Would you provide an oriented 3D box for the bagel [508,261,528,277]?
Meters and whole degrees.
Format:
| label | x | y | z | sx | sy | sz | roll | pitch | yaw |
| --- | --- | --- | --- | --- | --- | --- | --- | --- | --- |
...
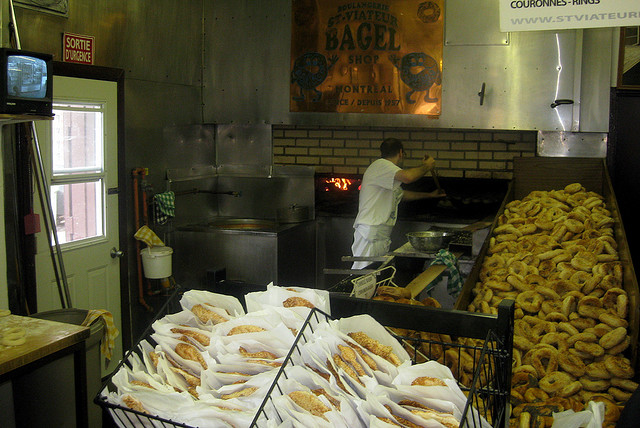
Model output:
| label | x | y | z | sx | sy | sz | roll | pitch | yaw |
| --- | --- | --- | --- | --- | --- | --- | --- | --- | --- |
| bagel | 1.230 | 0.335 | 2.972 | 0.085 | 0.085 | 0.030 | -31 | 33 | 33 |

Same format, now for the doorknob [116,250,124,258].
| label | x | y | z | sx | sy | sz | roll | pitch | yaw |
| --- | --- | --- | --- | --- | --- | --- | --- | --- | --- |
| doorknob | -1.840 | 0.377 | 4.448 | 0.050 | 0.072 | 0.089 | -4 | 9 | -13 |

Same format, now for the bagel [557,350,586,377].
| label | x | y | z | sx | sy | sz | roll | pitch | yaw |
| --- | --- | --- | --- | --- | --- | --- | --- | --- | --- |
| bagel | 1.203 | 0.725 | 2.330 | 0.088 | 0.043 | 0.113 | -15 | 39 | -35 |

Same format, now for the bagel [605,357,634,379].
| label | x | y | z | sx | sy | sz | roll | pitch | yaw |
| --- | --- | --- | --- | --- | --- | --- | --- | --- | --- |
| bagel | 1.430 | 0.740 | 2.304 | 0.131 | 0.074 | 0.082 | 0 | 9 | 10 |

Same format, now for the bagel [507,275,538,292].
| label | x | y | z | sx | sy | sz | roll | pitch | yaw |
| --- | --- | --- | --- | --- | --- | --- | --- | --- | --- |
| bagel | 1.184 | 0.418 | 2.840 | 0.097 | 0.024 | 0.095 | 8 | 15 | -30 |

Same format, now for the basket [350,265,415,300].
| label | x | y | z | sx | sy | sz | roll | pitch | yaw |
| --- | --- | --- | --- | --- | --- | --- | --- | --- | --- |
| basket | 0.370 | 0.449 | 2.977 | 0.371 | 0.137 | 0.207 | -27 | 34 | -21 |

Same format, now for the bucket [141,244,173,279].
| label | x | y | z | sx | sy | sz | roll | pitch | yaw |
| --- | --- | --- | --- | --- | --- | --- | --- | --- | --- |
| bucket | -1.521 | 0.443 | 4.538 | 0.321 | 0.315 | 0.291 | 0 | 3 | 11 |

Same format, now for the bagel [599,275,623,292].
| label | x | y | z | sx | sy | sz | roll | pitch | yaw |
| --- | --- | --- | --- | --- | --- | --- | --- | --- | --- |
| bagel | 1.645 | 0.391 | 2.716 | 0.150 | 0.070 | 0.080 | -9 | 11 | -40 |

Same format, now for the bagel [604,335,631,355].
| label | x | y | z | sx | sy | sz | roll | pitch | yaw |
| --- | --- | --- | --- | --- | --- | --- | --- | --- | --- |
| bagel | 1.488 | 0.662 | 2.397 | 0.091 | 0.026 | 0.093 | -29 | -10 | 28 |

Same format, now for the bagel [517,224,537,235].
| label | x | y | z | sx | sy | sz | roll | pitch | yaw |
| --- | --- | --- | --- | --- | --- | --- | --- | --- | --- |
| bagel | 1.448 | 0.103 | 3.361 | 0.139 | 0.067 | 0.084 | -3 | 9 | -6 |

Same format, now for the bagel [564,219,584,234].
| label | x | y | z | sx | sy | sz | roll | pitch | yaw |
| --- | --- | --- | --- | --- | --- | --- | --- | --- | --- |
| bagel | 1.714 | 0.082 | 3.261 | 0.132 | 0.081 | 0.118 | -5 | 9 | -21 |

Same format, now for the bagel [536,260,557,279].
| label | x | y | z | sx | sy | sz | roll | pitch | yaw |
| --- | --- | --- | --- | --- | --- | --- | --- | --- | --- |
| bagel | 1.387 | 0.338 | 2.952 | 0.112 | 0.087 | 0.110 | -9 | 11 | -39 |

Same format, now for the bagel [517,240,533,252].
| label | x | y | z | sx | sy | sz | roll | pitch | yaw |
| --- | --- | --- | --- | --- | --- | --- | --- | --- | --- |
| bagel | 1.355 | 0.208 | 3.177 | 0.091 | 0.054 | 0.100 | 1 | 9 | 20 |

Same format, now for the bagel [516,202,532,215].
| label | x | y | z | sx | sy | sz | roll | pitch | yaw |
| --- | --- | --- | --- | --- | --- | --- | --- | --- | --- |
| bagel | 1.553 | -0.046 | 3.659 | 0.153 | 0.082 | 0.089 | -9 | 11 | -39 |

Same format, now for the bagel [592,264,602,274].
| label | x | y | z | sx | sy | sz | roll | pitch | yaw |
| --- | --- | --- | --- | --- | --- | --- | --- | --- | --- |
| bagel | 1.620 | 0.325 | 2.826 | 0.034 | 0.041 | 0.065 | 3 | 10 | 31 |

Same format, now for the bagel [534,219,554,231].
| label | x | y | z | sx | sy | sz | roll | pitch | yaw |
| --- | --- | --- | --- | --- | --- | --- | --- | --- | --- |
| bagel | 1.553 | 0.080 | 3.332 | 0.079 | 0.066 | 0.116 | -8 | 11 | -37 |

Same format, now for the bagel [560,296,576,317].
| label | x | y | z | sx | sy | sz | roll | pitch | yaw |
| --- | --- | --- | --- | --- | --- | --- | --- | --- | --- |
| bagel | 1.364 | 0.504 | 2.640 | 0.060 | 0.093 | 0.125 | 7 | 12 | 44 |

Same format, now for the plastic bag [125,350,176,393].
| label | x | y | z | sx | sy | sz | roll | pitch | yaw |
| --- | --- | --- | --- | --- | --- | --- | --- | --- | --- |
| plastic bag | -0.477 | 0.442 | 1.338 | 0.033 | 0.130 | 0.082 | -37 | -2 | 7 |

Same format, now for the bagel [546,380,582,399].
| label | x | y | z | sx | sy | sz | roll | pitch | yaw |
| --- | --- | --- | --- | --- | --- | --- | --- | --- | --- |
| bagel | 1.142 | 0.818 | 2.225 | 0.197 | 0.055 | 0.043 | -6 | 9 | -25 |

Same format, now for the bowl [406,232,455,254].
| label | x | y | z | sx | sy | sz | roll | pitch | yaw |
| --- | --- | --- | --- | --- | --- | --- | --- | --- | --- |
| bowl | 0.875 | 0.225 | 3.817 | 0.323 | 0.140 | 0.359 | 1 | 9 | 17 |

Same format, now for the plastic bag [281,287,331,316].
| label | x | y | z | sx | sy | sz | roll | pitch | yaw |
| --- | --- | --- | --- | --- | --- | --- | --- | --- | --- |
| plastic bag | -0.039 | 0.262 | 1.533 | 0.114 | 0.066 | 0.110 | 2 | 2 | 15 |

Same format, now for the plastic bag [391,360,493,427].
| label | x | y | z | sx | sy | sz | roll | pitch | yaw |
| --- | --- | --- | --- | --- | --- | --- | --- | --- | --- |
| plastic bag | 0.317 | 0.470 | 1.290 | 0.225 | 0.065 | 0.148 | 31 | 64 | 19 |

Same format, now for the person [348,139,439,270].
| label | x | y | z | sx | sy | sz | roll | pitch | yaw |
| --- | --- | --- | --- | --- | --- | --- | --- | --- | --- |
| person | 0.774 | -0.102 | 4.877 | 0.777 | 1.305 | 0.634 | -8 | 11 | -35 |

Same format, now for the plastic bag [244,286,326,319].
| label | x | y | z | sx | sy | sz | roll | pitch | yaw |
| --- | --- | --- | --- | --- | --- | --- | --- | --- | --- |
| plastic bag | -0.117 | 0.269 | 1.512 | 0.162 | 0.054 | 0.117 | 4 | 13 | 27 |

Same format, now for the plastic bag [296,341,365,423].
| label | x | y | z | sx | sy | sz | roll | pitch | yaw |
| --- | --- | --- | --- | --- | --- | --- | --- | --- | --- |
| plastic bag | 0.026 | 0.458 | 1.281 | 0.219 | 0.023 | 0.152 | 37 | -14 | 16 |

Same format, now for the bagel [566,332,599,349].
| label | x | y | z | sx | sy | sz | roll | pitch | yaw |
| --- | --- | --- | --- | --- | --- | --- | --- | --- | --- |
| bagel | 1.338 | 0.640 | 2.450 | 0.172 | 0.061 | 0.058 | -4 | 9 | -13 |

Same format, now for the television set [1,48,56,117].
| label | x | y | z | sx | sy | sz | roll | pitch | yaw |
| --- | --- | --- | --- | --- | --- | --- | --- | --- | --- |
| television set | -1.678 | -0.754 | 2.774 | 0.058 | 0.364 | 0.317 | 4 | 10 | 32 |

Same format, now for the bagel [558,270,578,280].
| label | x | y | z | sx | sy | sz | roll | pitch | yaw |
| --- | --- | --- | --- | --- | --- | --- | --- | --- | --- |
| bagel | 1.452 | 0.356 | 2.827 | 0.065 | 0.019 | 0.067 | -3 | 8 | 43 |

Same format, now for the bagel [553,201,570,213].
| label | x | y | z | sx | sy | sz | roll | pitch | yaw |
| --- | --- | --- | --- | --- | --- | --- | --- | --- | --- |
| bagel | 1.776 | -0.050 | 3.543 | 0.079 | 0.021 | 0.064 | 30 | 6 | 29 |

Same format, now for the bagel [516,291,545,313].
| label | x | y | z | sx | sy | sz | roll | pitch | yaw |
| --- | --- | --- | --- | --- | --- | --- | --- | --- | --- |
| bagel | 1.192 | 0.501 | 2.730 | 0.147 | 0.098 | 0.115 | 0 | 9 | 15 |

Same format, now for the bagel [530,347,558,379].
| label | x | y | z | sx | sy | sz | roll | pitch | yaw |
| --- | --- | --- | --- | --- | --- | --- | --- | --- | --- |
| bagel | 1.089 | 0.720 | 2.342 | 0.120 | 0.111 | 0.039 | -19 | -16 | -24 |
